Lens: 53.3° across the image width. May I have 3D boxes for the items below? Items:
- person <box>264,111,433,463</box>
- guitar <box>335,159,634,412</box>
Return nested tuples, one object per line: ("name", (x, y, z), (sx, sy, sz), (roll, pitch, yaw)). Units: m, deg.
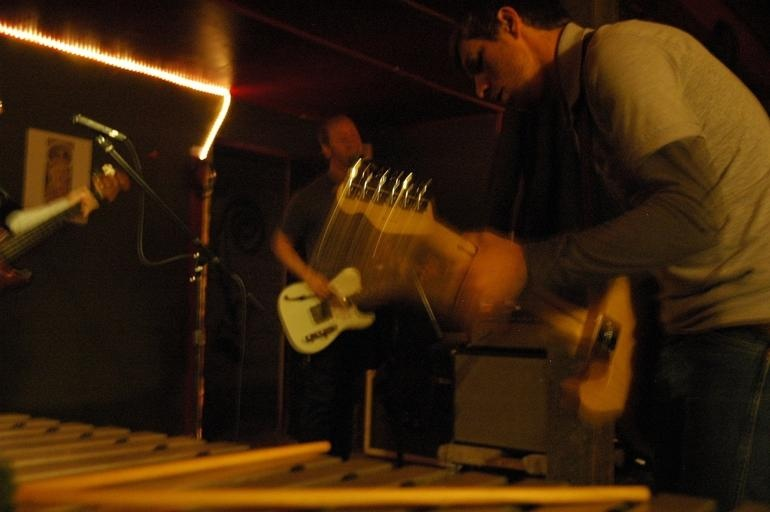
("person", (-0.271, 0.278, 5.166), (1.079, 2.762, 0.281), (4, -11, -6))
("guitar", (0.338, 0.089, 3.650), (0.232, 0.818, 1.639), (-4, 24, -23))
